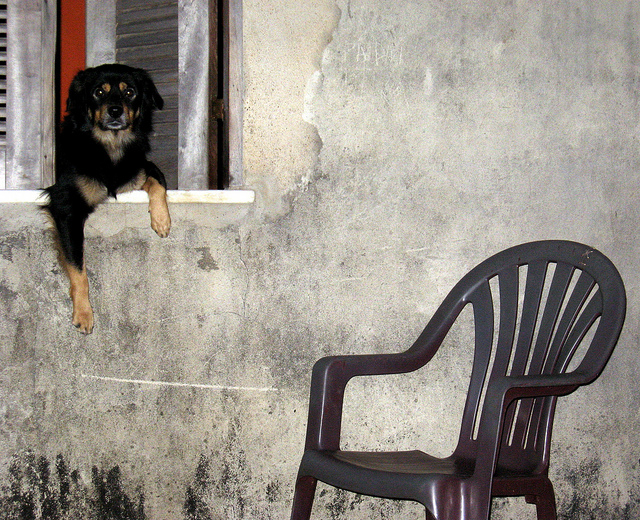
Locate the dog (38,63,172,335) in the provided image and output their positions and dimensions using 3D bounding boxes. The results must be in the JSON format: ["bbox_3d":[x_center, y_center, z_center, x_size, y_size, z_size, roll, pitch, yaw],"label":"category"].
[{"bbox_3d":[-1.224,-0.181,6.247,0.447,0.774,1.670,4,-39,-11],"label":"dog"}]
